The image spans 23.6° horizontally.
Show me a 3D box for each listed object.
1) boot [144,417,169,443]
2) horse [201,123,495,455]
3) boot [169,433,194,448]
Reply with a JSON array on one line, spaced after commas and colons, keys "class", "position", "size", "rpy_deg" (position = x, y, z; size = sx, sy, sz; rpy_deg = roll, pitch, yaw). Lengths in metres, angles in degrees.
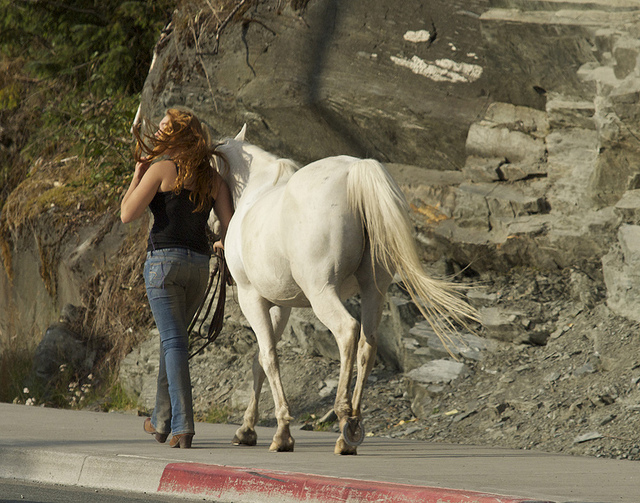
[{"class": "boot", "position": [-1.885, 2.048, 17.659], "size": [0.147, 0.215, 0.444], "rpy_deg": [-13, 46, -26]}, {"class": "horse", "position": [-0.260, 0.433, 17.871], "size": [1.262, 4.009, 4.999], "rpy_deg": [1, -4, -32]}, {"class": "boot", "position": [-1.540, 2.092, 17.105], "size": [0.131, 0.143, 0.289], "rpy_deg": [0, 3, -31]}]
